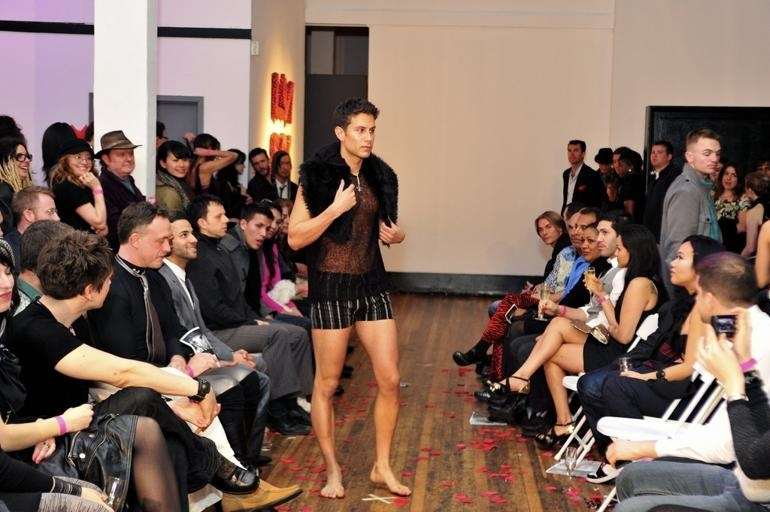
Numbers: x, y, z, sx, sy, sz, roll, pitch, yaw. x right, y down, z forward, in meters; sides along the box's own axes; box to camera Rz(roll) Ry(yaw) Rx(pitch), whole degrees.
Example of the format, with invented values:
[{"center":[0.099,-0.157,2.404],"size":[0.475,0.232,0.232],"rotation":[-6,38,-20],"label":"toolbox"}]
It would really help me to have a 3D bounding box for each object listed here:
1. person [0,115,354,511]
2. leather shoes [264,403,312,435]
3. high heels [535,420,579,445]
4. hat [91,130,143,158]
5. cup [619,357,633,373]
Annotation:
[{"center":[-1.234,0.588,3.645],"size":[0.795,1.740,1.472],"rotation":[1,7,5],"label":"person"},{"center":[-0.719,1.217,4.890],"size":[0.418,0.315,0.165],"rotation":[1,5,-7],"label":"leather shoes"},{"center":[1.223,1.295,4.685],"size":[0.288,0.122,0.163],"rotation":[-28,14,33],"label":"high heels"},{"center":[-2.190,-0.923,5.263],"size":[0.263,0.109,0.245],"rotation":[-16,2,25],"label":"hat"},{"center":[1.445,0.656,3.905],"size":[0.074,0.092,0.082],"rotation":[0,-7,-1],"label":"cup"}]
